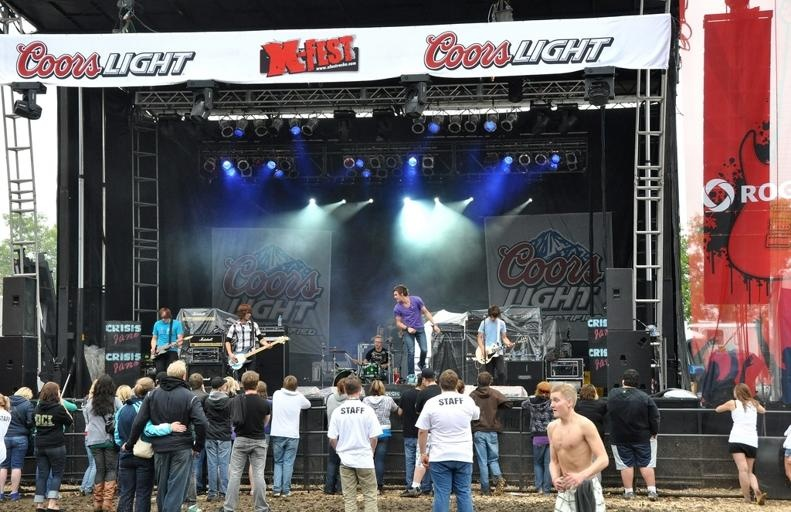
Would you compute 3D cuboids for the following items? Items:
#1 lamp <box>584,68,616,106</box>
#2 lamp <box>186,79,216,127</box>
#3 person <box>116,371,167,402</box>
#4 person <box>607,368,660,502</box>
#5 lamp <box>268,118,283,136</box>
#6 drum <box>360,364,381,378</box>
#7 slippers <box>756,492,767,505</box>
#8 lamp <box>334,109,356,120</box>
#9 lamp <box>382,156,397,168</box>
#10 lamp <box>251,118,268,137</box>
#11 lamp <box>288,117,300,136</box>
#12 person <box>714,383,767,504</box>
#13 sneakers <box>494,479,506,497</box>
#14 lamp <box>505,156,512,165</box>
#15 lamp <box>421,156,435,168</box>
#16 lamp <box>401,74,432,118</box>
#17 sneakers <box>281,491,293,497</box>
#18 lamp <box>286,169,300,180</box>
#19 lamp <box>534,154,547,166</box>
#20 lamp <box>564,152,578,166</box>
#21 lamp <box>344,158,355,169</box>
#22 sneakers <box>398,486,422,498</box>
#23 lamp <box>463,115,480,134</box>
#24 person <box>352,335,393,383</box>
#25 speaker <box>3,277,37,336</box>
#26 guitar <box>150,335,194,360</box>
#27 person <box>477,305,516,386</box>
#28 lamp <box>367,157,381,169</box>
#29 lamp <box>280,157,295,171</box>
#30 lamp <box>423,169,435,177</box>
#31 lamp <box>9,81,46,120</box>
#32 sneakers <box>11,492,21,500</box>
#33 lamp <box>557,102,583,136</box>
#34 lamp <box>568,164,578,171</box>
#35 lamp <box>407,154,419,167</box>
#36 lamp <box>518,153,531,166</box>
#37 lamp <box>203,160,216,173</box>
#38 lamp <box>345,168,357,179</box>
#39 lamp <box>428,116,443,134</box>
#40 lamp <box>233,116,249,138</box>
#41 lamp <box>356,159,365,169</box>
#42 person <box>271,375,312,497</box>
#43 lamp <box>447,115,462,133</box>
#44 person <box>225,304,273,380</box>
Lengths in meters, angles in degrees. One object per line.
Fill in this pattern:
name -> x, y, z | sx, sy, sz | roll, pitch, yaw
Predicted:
lamp -> 4.582, -3.773, 36.598 | 0.774, 0.866, 0.926 | 1, -24, 6
lamp -> -4.347, -3.537, 37.215 | 0.780, 0.938, 0.533 | 0, -15, 3
person -> -5.371, 2.763, 34.616 | 0.939, 0.285, 0.319 | -26, -29, 17
person -> 5.034, 3.790, 34.689 | 1.061, 2.699, 0.542 | -1, -8, 5
lamp -> -3.042, -3.420, 42.318 | 0.414, 0.490, 0.344 | 5, -44, 0
drum -> -0.524, 2.697, 38.520 | 0.340, 0.219, 0.339 | -1, -6, 0
slippers -> 7.738, 5.138, 34.662 | 0.255, 0.243, 0.212 | -3, -9, 23
lamp -> -1.287, -3.651, 42.551 | 0.539, 0.135, 1.093 | 0, -9, 0
lamp -> -0.104, -2.544, 43.653 | 0.330, 0.265, 0.167 | 0, -8, 0
lamp -> -3.477, -3.400, 42.443 | 0.352, 0.227, 0.460 | 7, 26, -13
lamp -> -2.583, -3.413, 42.589 | 0.226, 0.359, 0.187 | 7, -54, -11
person -> 7.391, 3.991, 34.833 | 0.879, 2.538, 0.536 | -1, -8, 3
sneakers -> 2.256, 4.950, 35.147 | 0.149, 0.414, 0.188 | 5, 9, -5
lamp -> 2.998, -2.568, 43.192 | 0.224, 0.150, 0.331 | -1, -9, 3
lamp -> 0.889, -2.519, 43.626 | 0.346, 0.361, 0.182 | -1, -8, 6
lamp -> 0.470, -3.708, 37.516 | 0.732, 0.891, 0.502 | 4, -12, 25
sneakers -> -2.300, 5.114, 35.054 | 0.237, 0.102, 0.073 | -4, 0, -26
lamp -> -2.723, -2.240, 44.249 | 0.396, 0.178, 0.421 | 6, -11, -38
lamp -> 3.844, -2.594, 43.109 | 0.316, 0.258, 0.231 | 0, -8, -1
lamp -> 4.625, -2.606, 42.923 | 0.323, 0.270, 0.114 | -1, -8, 5
lamp -> -1.210, -2.531, 43.696 | 0.276, 0.283, 0.162 | 1, -8, -12
sneakers -> 0.334, 5.055, 35.057 | 0.472, 0.206, 0.197 | -5, -14, 33
lamp -> 1.970, -3.467, 42.352 | 0.241, 0.321, 0.221 | 27, -49, -10
person -> -0.392, 2.545, 39.713 | 1.160, 1.252, 0.891 | -9, -13, 44
speaker -> -8.249, 1.082, 36.056 | 0.739, 1.356, 0.435 | 2, -8, -14
guitar -> -5.352, 2.126, 39.236 | 0.909, 0.612, 2.218 | 1, -9, -9
person -> 2.379, 2.268, 38.171 | 1.018, 2.213, 0.595 | 3, 17, 22
lamp -> -0.532, -2.517, 43.616 | 0.314, 0.347, 0.240 | -2, 2, 5
lamp -> -2.877, -2.510, 43.978 | 0.464, 0.344, 0.222 | 4, -9, -28
lamp -> 0.890, -2.260, 43.672 | 0.203, 0.195, 0.049 | 3, 27, 6
lamp -> -8.415, -3.515, 37.180 | 0.757, 0.852, 0.815 | -14, -9, 27
sneakers -> -8.102, 5.146, 35.131 | 0.123, 0.207, 0.207 | -4, -5, 41
lamp -> 4.494, -3.568, 42.374 | 0.640, 1.209, 0.621 | -4, 7, -14
lamp -> 4.653, -2.378, 43.130 | 0.191, 0.188, 0.263 | -4, 11, 15
lamp -> 0.484, -2.583, 43.571 | 0.265, 0.272, 0.089 | 4, 7, 6
lamp -> 3.421, -2.596, 43.154 | 0.305, 0.278, 0.141 | -1, -8, 3
lamp -> -4.928, -2.443, 43.815 | 0.328, 0.311, 0.292 | 1, -8, -6
lamp -> -1.183, -2.260, 44.420 | 0.296, 0.262, 0.230 | 4, -39, 13
lamp -> 1.033, -3.394, 42.122 | 0.220, 0.424, 0.274 | 7, -52, 0
lamp -> -4.054, -3.353, 42.477 | 0.288, 0.478, 0.470 | 13, 22, 0
lamp -> -0.926, -2.500, 43.696 | 0.170, 0.202, 0.199 | -4, -7, 41
person -> -2.262, 3.862, 35.080 | 0.755, 2.566, 0.460 | 0, -8, -3
lamp -> 1.554, -3.389, 42.233 | 0.403, 0.388, 0.385 | -2, -50, 9
person -> -3.440, 1.963, 37.599 | 0.861, 1.653, 1.053 | 0, -8, -5
